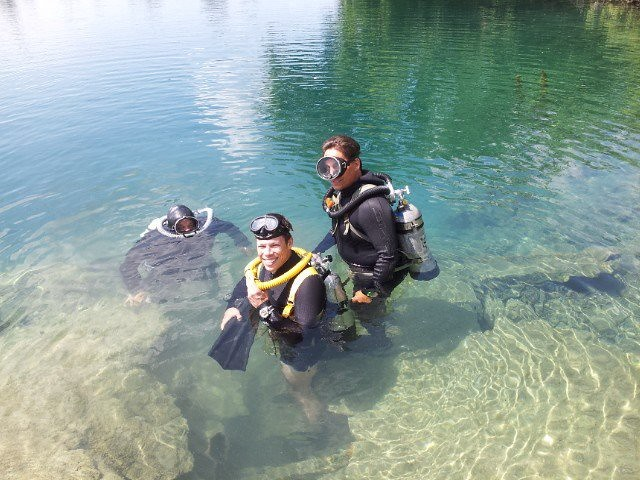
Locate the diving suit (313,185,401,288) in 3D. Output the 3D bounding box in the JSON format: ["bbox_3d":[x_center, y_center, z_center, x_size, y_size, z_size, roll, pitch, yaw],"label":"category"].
[{"bbox_3d":[0.698,-0.026,8.465,1.089,1.653,1.576,-36,15,0],"label":"diving suit"}]

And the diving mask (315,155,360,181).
[{"bbox_3d":[0.212,-1.196,8.163,0.433,0.214,0.464,-9,7,17],"label":"diving mask"}]

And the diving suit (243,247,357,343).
[{"bbox_3d":[-0.084,0.577,7.746,1.329,0.463,0.951,-38,26,14],"label":"diving suit"}]

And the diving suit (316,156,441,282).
[{"bbox_3d":[1.154,-0.053,8.841,1.573,1.842,1.150,-9,20,28],"label":"diving suit"}]

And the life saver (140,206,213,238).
[{"bbox_3d":[-2.767,-0.376,10.193,1.139,0.368,0.804,-30,39,-35],"label":"life saver"}]
